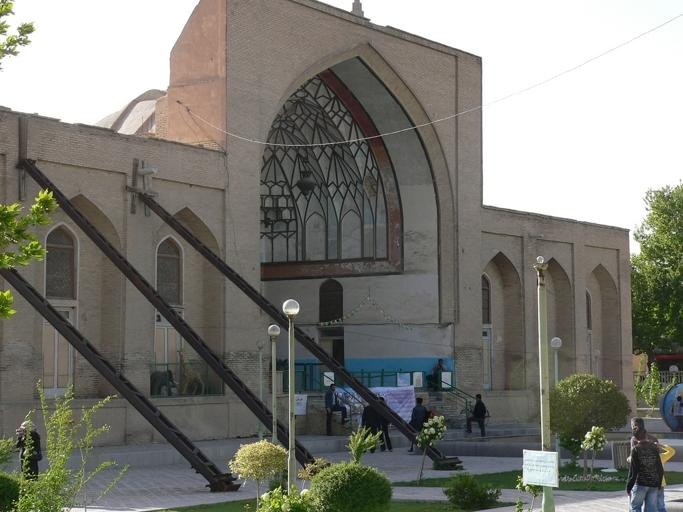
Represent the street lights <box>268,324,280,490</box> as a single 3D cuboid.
[{"bbox_3d":[-1.684,3.710,35.118,0.306,3.600,0.475,1,-8,-13],"label":"street lights"}]
